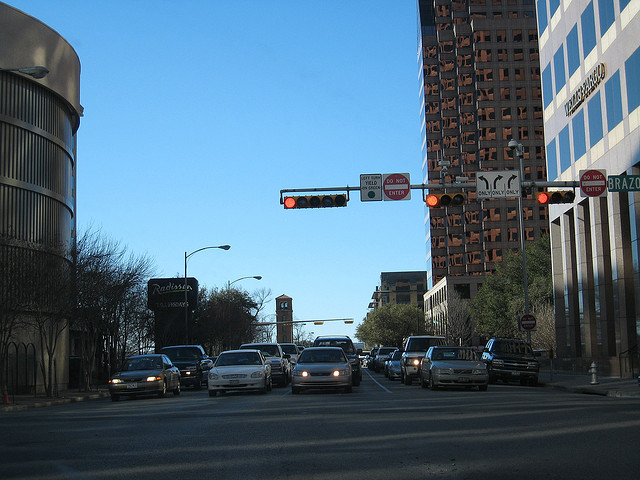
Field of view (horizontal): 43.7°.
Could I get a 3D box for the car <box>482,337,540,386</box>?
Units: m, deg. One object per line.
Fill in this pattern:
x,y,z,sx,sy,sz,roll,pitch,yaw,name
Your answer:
8.941,5.658,37.923,2.335,2.296,2.974,-1,-4,7,car

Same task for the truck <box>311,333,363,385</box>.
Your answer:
0.527,6.168,39.322,2.449,2.499,4.849,-8,-3,8,truck

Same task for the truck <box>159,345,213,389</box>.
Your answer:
-6.578,6.353,40.678,1.809,2.213,4.991,0,-7,0,truck

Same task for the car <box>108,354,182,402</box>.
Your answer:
-7.640,5.987,35.256,2.267,1.944,5.336,-4,-9,2,car

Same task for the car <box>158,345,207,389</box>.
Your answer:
-7.191,6.647,41.538,2.102,2.243,4.665,-4,-9,-5,car

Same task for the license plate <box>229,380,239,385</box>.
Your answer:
-3.442,5.609,31.822,0.379,0.181,0.060,-1,-10,-1,license plate

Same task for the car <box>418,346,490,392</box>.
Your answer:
5.591,5.308,33.815,2.159,1.898,5.484,1,-7,1,car
